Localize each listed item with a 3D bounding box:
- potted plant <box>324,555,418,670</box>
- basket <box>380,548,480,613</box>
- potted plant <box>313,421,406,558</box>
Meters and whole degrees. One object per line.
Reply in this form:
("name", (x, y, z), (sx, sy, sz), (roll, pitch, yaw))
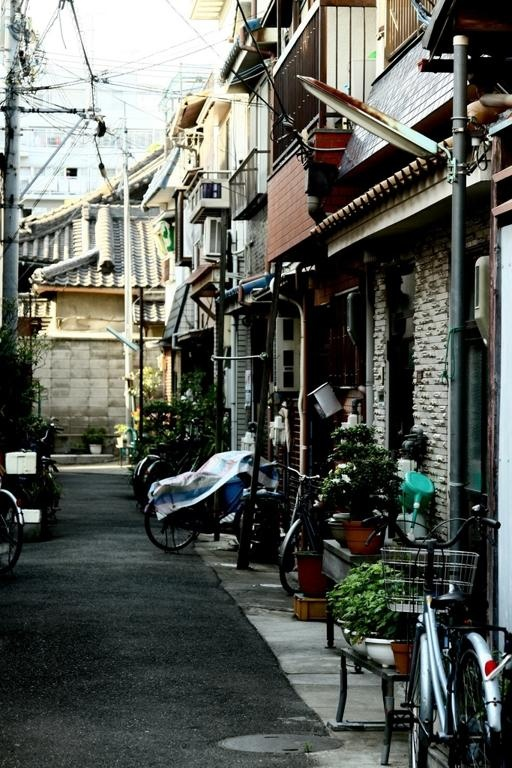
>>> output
("potted plant", (0.475, 1.317, 7.134), (0.534, 0.644, 0.578), (3, -12, -10))
("basket", (0.835, 0.932, 6.197), (0.316, 0.350, 0.519), (2, 3, -6))
("potted plant", (0.798, 0.719, 8.827), (0.665, 1.235, 0.695), (-1, 0, 37))
